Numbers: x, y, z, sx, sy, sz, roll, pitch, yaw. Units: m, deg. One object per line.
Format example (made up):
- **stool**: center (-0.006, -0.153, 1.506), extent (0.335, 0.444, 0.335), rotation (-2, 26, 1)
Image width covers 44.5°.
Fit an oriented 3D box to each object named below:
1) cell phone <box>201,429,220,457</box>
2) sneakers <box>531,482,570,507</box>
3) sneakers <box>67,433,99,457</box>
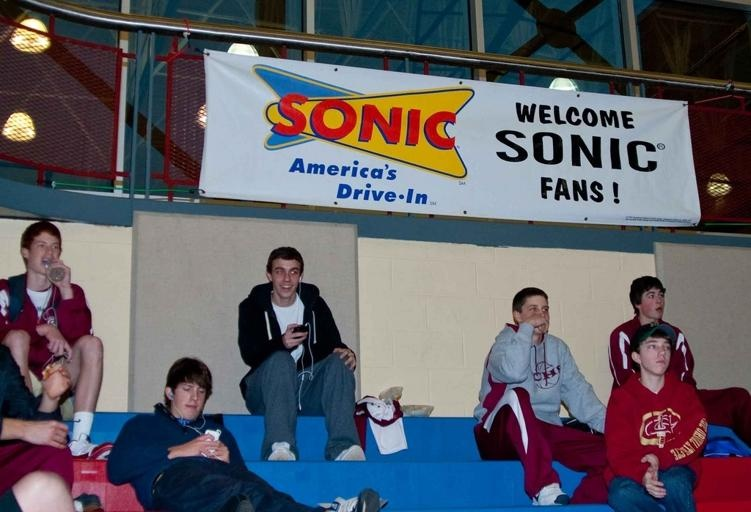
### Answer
- **cell phone**: center (-0.960, 1.101, 5.426), extent (0.084, 0.152, 0.038), rotation (10, -21, -21)
- **sneakers**: center (1.060, 1.414, 5.490), extent (0.103, 0.107, 0.225), rotation (3, -5, -33)
- **sneakers**: center (-1.803, 1.149, 5.617), extent (0.115, 0.173, 0.338), rotation (7, -10, -41)
